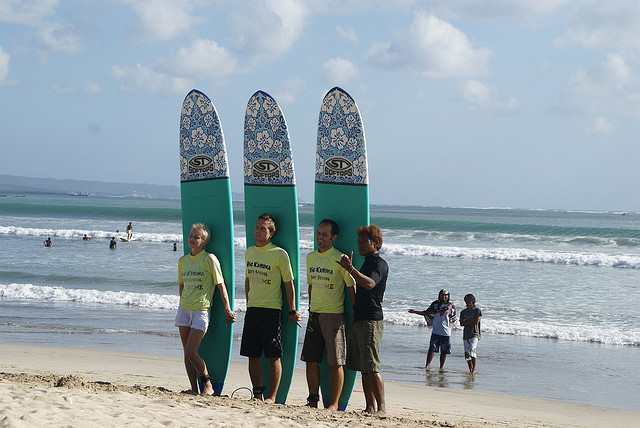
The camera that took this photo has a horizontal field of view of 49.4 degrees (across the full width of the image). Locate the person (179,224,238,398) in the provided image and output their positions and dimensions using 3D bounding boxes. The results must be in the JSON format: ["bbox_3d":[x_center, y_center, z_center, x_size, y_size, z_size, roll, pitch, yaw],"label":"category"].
[{"bbox_3d":[-2.097,1.710,12.398,0.820,2.978,0.611,1,6,-10],"label":"person"}]

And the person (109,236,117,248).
[{"bbox_3d":[-9.664,1.389,32.400,0.289,0.433,1.019,0,6,-16],"label":"person"}]

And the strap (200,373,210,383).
[{"bbox_3d":[-2.043,2.933,12.368,0.118,0.093,0.122,-1,3,-11],"label":"strap"}]

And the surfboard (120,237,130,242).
[{"bbox_3d":[-10.192,1.378,36.348,0.450,0.168,0.540,1,6,-14],"label":"surfboard"}]

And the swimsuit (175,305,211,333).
[{"bbox_3d":[-2.270,1.838,12.451,0.630,0.462,0.393,4,-15,15],"label":"swimsuit"}]

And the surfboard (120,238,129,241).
[{"bbox_3d":[-10.201,1.350,36.209,0.183,0.121,0.743,10,0,-28],"label":"surfboard"}]

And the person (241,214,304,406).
[{"bbox_3d":[-0.912,1.657,12.212,0.911,3.237,0.589,1,6,-5],"label":"person"}]

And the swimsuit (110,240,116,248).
[{"bbox_3d":[-9.545,1.394,32.064,0.200,0.365,0.092,1,-12,2],"label":"swimsuit"}]

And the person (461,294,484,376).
[{"bbox_3d":[3.253,2.642,15.234,0.403,1.723,0.246,3,6,14],"label":"person"}]

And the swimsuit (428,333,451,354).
[{"bbox_3d":[2.665,2.801,15.508,0.605,0.598,0.356,2,-17,14],"label":"swimsuit"}]

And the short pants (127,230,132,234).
[{"bbox_3d":[-10.359,0.977,37.822,0.156,0.170,0.266,0,6,-23],"label":"short pants"}]

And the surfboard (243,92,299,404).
[{"bbox_3d":[-0.973,0.359,12.226,1.060,6.241,0.513,0,-36,-7],"label":"surfboard"}]

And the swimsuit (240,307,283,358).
[{"bbox_3d":[-1.014,2.096,12.206,0.820,0.945,0.525,1,-12,15],"label":"swimsuit"}]

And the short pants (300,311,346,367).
[{"bbox_3d":[0.063,2.170,12.128,0.776,0.906,0.278,2,6,2],"label":"short pants"}]

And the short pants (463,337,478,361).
[{"bbox_3d":[3.287,2.959,15.292,0.276,0.556,0.193,3,6,14],"label":"short pants"}]

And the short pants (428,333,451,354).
[{"bbox_3d":[2.678,2.898,15.486,0.606,0.570,0.364,4,-14,12],"label":"short pants"}]

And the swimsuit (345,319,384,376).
[{"bbox_3d":[0.728,2.282,11.931,0.613,0.955,0.352,3,6,11],"label":"swimsuit"}]

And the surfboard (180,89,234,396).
[{"bbox_3d":[-2.069,0.674,12.608,1.573,5.669,1.595,1,-3,2],"label":"surfboard"}]

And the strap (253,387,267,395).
[{"bbox_3d":[-1.095,3.125,12.270,0.175,0.101,0.041,-2,1,-19],"label":"strap"}]

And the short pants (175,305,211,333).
[{"bbox_3d":[-2.235,1.899,12.382,0.655,0.481,0.412,2,-17,14],"label":"short pants"}]
